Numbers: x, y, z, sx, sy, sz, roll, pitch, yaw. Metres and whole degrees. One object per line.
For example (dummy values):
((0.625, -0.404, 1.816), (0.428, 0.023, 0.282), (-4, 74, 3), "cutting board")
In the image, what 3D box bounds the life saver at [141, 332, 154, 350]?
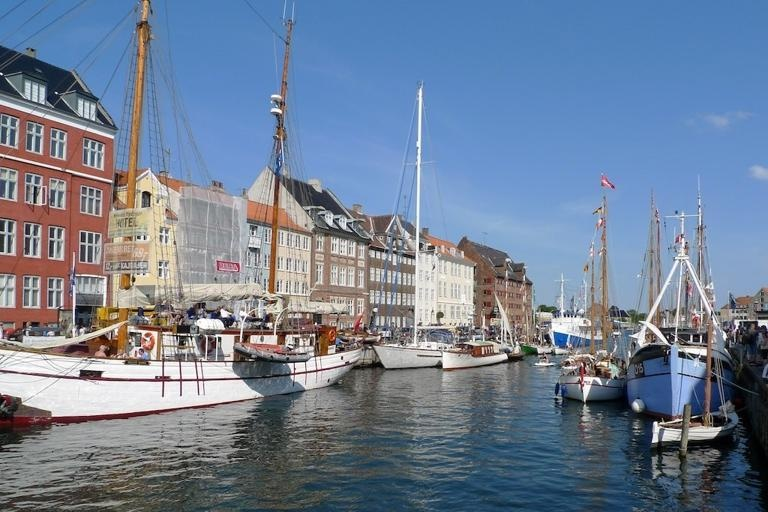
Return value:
((-14.248, 5.108, 44.182), (0.893, 1.060, 0.243), (2, 3, 4), "life saver")

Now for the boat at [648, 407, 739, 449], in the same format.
((16.737, 9.354, 39.376), (5.375, 1.759, 1.974), (0, 3, -26), "boat")

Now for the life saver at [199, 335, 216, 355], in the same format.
((-10.970, 5.484, 45.215), (0.240, 1.097, 1.062), (5, -1, 38), "life saver")
